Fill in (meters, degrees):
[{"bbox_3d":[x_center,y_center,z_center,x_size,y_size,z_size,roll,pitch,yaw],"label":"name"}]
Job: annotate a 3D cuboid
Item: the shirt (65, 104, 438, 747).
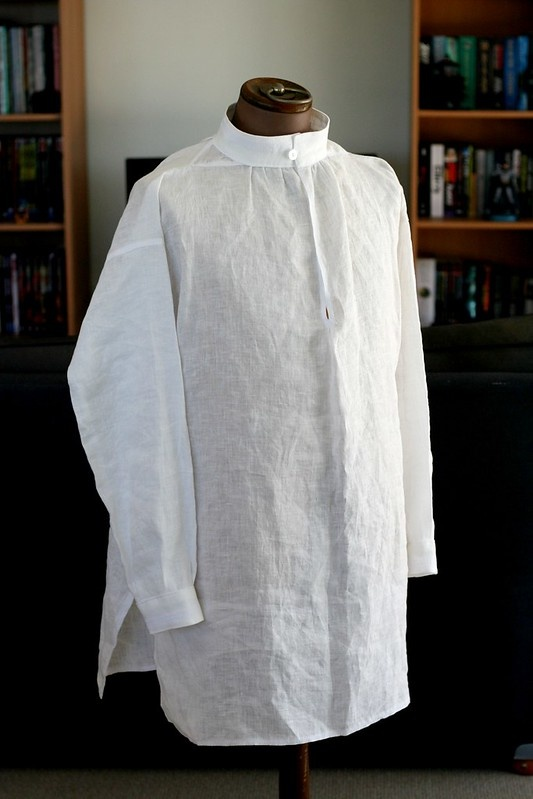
[{"bbox_3d":[-0.013,0.031,1.111,0.438,0.734,0.274,-5,13,-7],"label":"shirt"}]
